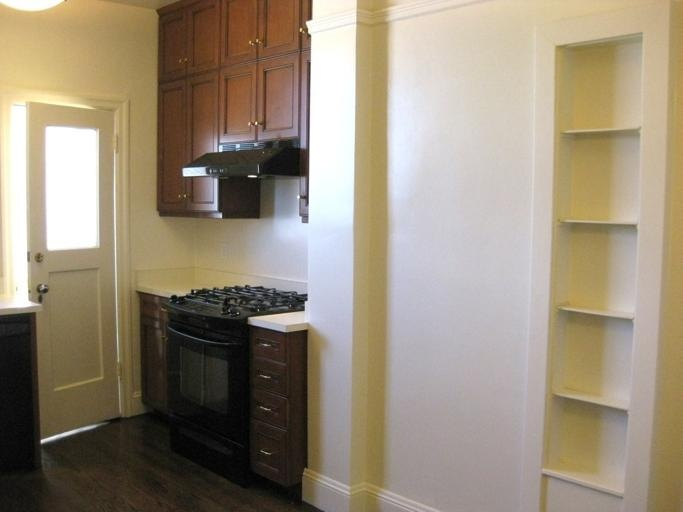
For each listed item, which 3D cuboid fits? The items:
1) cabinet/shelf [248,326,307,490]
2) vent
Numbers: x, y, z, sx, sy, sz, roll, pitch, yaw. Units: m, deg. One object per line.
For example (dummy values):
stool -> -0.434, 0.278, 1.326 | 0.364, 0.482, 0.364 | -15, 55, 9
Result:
cabinet/shelf -> -0.381, 0.870, 3.473 | 0.359, 0.902, 0.270 | 0, 12, 0
vent -> -0.660, -0.639, 3.887 | 0.330, 0.274, 0.890 | -10, 16, -40
